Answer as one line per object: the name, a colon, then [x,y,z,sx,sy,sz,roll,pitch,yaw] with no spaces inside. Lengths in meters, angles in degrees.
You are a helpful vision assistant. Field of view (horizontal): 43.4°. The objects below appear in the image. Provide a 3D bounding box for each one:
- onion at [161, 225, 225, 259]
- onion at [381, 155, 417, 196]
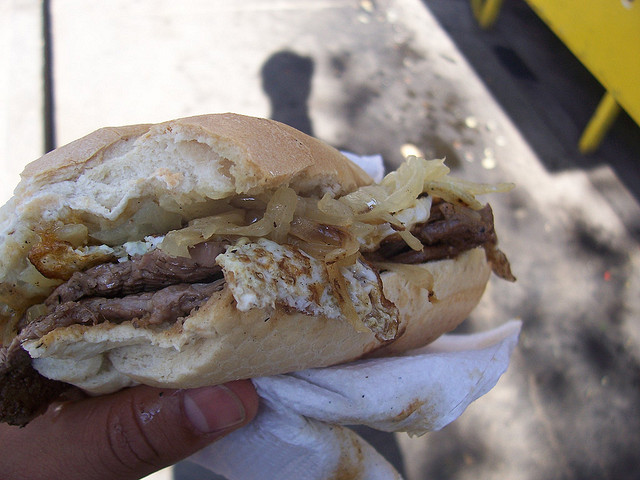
onion: [-0.674,-0.005,4.070,0.214,0.061,0.163,-25,58,-28]
onion: [0.434,-0.353,4.391,0.236,0.056,0.152,-47,46,6]
